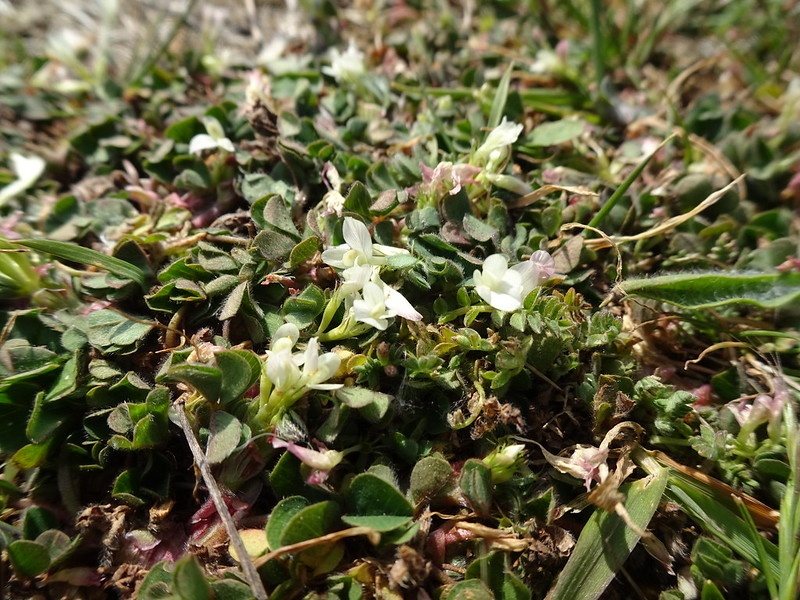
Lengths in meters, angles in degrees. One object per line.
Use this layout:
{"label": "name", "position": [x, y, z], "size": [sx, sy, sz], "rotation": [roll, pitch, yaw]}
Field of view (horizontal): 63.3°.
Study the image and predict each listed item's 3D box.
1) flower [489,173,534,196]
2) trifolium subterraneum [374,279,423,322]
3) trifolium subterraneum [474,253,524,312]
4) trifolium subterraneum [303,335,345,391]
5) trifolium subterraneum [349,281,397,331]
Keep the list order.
{"label": "flower", "position": [0.266, -0.277, 1.547], "size": [0.043, 0.145, 0.035], "rotation": [30, 110, 48]}
{"label": "trifolium subterraneum", "position": [-0.004, 0.012, 1.343], "size": [0.045, 0.019, 0.137], "rotation": [-31, 56, -23]}
{"label": "trifolium subterraneum", "position": [0.193, -0.041, 1.384], "size": [0.120, 0.113, 0.048], "rotation": [-26, 92, -8]}
{"label": "trifolium subterraneum", "position": [-0.160, 0.125, 1.324], "size": [0.078, 0.154, 0.120], "rotation": [-8, 73, 2]}
{"label": "trifolium subterraneum", "position": [-0.049, 0.023, 1.348], "size": [0.082, 0.115, 0.084], "rotation": [27, 77, 11]}
